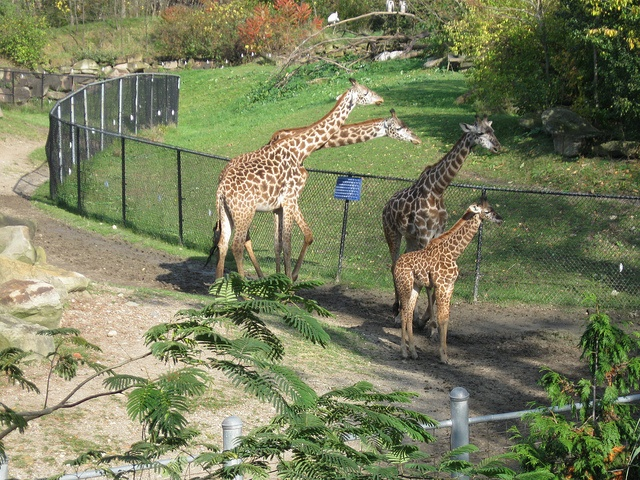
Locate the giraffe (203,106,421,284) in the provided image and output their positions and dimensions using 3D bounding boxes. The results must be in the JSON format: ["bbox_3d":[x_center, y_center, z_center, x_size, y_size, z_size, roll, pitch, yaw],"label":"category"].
[{"bbox_3d":[-0.358,-1.010,42.725,7.370,5.836,1.989,0,20,14],"label":"giraffe"}]
